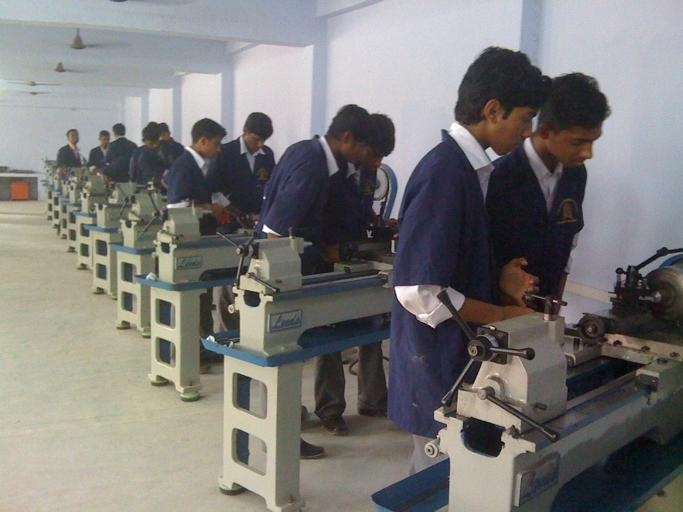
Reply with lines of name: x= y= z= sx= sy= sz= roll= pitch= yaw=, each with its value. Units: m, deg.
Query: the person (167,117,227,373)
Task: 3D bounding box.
person: x=-1.023 y=-0.126 z=4.565 sx=0.433 sy=1.690 sz=0.640 roll=-2 pitch=12 yaw=-15

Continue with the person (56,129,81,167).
person: x=-4.906 y=-1.912 z=11.353 sx=0.410 sy=0.647 sz=1.942 roll=-4 pitch=14 yaw=-22

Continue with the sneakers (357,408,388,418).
sneakers: x=0.193 y=0.934 z=3.812 sx=0.164 sy=0.078 sz=0.058 roll=-2 pitch=-1 yaw=1

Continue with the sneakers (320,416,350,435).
sneakers: x=-0.023 y=0.965 z=3.602 sx=0.075 sy=0.064 sz=0.151 roll=0 pitch=-1 yaw=-37

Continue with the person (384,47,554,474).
person: x=0.435 y=0.052 z=2.242 sx=0.547 sy=1.543 sz=0.393 roll=-2 pitch=12 yaw=-14

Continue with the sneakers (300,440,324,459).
sneakers: x=-0.162 y=1.023 z=3.353 sx=0.183 sy=0.080 sz=0.070 roll=2 pitch=0 yaw=6
